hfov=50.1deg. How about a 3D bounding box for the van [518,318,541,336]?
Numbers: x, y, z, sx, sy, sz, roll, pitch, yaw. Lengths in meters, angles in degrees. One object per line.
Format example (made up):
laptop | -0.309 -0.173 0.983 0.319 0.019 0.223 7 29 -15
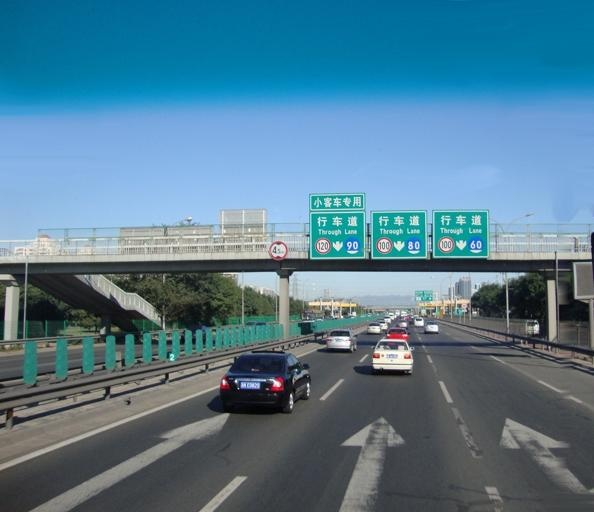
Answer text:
van | 20.752 6.362 56.660 1.985 2.069 1.113 3 -7 -42

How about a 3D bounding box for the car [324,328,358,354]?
car | 2.717 5.151 38.721 1.705 1.364 1.852 1 -3 2

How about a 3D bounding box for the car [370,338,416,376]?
car | 3.736 4.025 25.041 1.530 1.428 2.698 -1 0 6

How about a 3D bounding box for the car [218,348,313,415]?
car | -0.719 3.341 16.774 1.490 1.520 2.840 -1 -3 26
